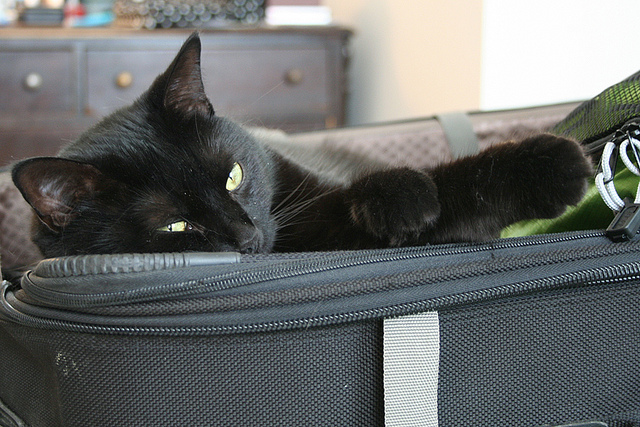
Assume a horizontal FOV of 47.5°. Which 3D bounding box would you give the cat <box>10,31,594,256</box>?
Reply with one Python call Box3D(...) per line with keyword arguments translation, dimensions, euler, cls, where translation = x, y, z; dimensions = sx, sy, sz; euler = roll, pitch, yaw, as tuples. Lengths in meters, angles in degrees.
Box3D(translation=(-0.046, -0.048, 1.206), dimensions=(0.707, 0.242, 0.447), euler=(0, 5, -10), cls="cat")
